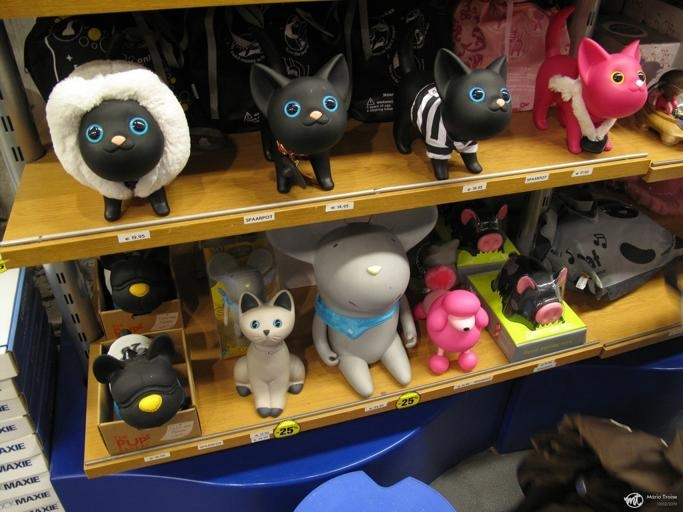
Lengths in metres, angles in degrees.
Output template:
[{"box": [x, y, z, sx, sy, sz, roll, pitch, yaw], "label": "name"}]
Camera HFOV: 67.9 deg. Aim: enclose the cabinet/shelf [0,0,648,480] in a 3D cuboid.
[{"box": [-0.078, -0.047, 1.584, 1.489, 0.903, 0.520, -13, 31, -27], "label": "cabinet/shelf"}]
